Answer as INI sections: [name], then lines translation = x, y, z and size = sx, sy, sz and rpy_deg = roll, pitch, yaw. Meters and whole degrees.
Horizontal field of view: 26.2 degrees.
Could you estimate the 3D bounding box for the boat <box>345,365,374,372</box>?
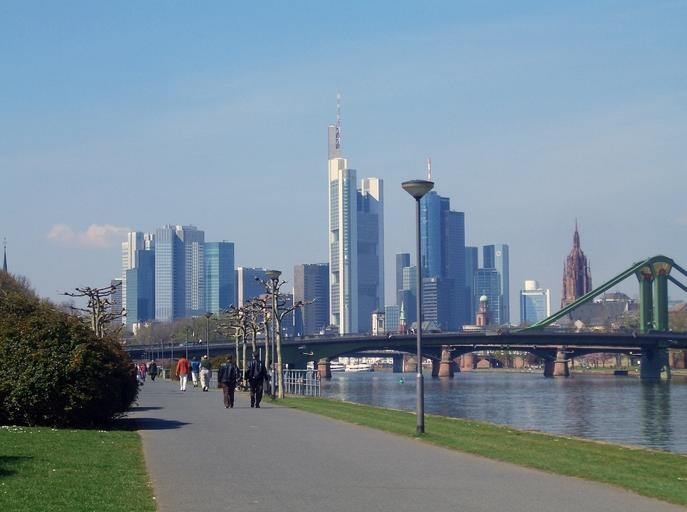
[boat]
translation = 4.064, 26.681, 343.022
size = 2.284, 2.118, 7.116
rpy_deg = -4, -8, 30
